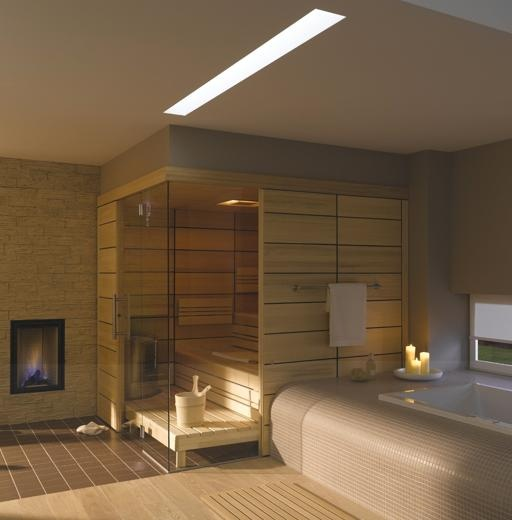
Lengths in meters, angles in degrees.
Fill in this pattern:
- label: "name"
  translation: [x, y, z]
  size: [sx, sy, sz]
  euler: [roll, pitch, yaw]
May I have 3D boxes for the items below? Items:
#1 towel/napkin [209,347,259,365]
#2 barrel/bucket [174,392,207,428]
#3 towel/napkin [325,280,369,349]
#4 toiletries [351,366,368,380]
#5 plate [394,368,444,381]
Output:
- label: "towel/napkin"
  translation: [-0.172, 0.909, 4.421]
  size: [0.331, 0.065, 0.863]
  euler: [1, -3, -19]
- label: "barrel/bucket"
  translation: [-0.470, 1.093, 3.397]
  size: [0.219, 0.181, 0.242]
  euler: [0, -2, 1]
- label: "towel/napkin"
  translation: [0.710, 0.437, 3.740]
  size: [0.355, 0.487, 0.114]
  euler: [2, -4, -37]
- label: "toiletries"
  translation: [0.794, 0.868, 3.586]
  size: [0.110, 0.048, 0.098]
  euler: [1, 0, -4]
- label: "plate"
  translation: [1.266, 0.891, 3.640]
  size: [0.367, 0.065, 0.284]
  euler: [-1, -3, 13]
